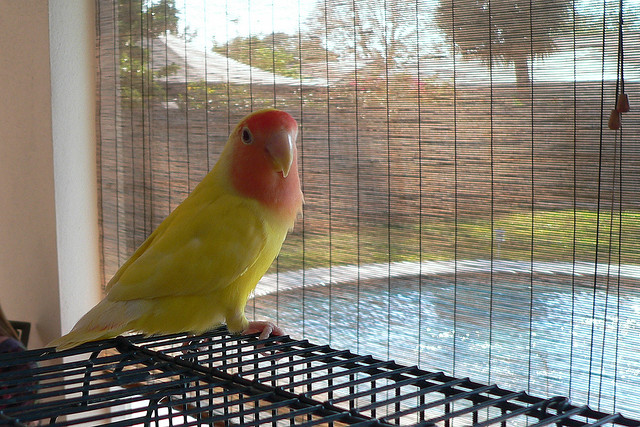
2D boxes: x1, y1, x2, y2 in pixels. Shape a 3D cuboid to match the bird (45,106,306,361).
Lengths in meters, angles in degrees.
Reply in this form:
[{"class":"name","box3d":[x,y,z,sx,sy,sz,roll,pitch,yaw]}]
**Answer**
[{"class":"bird","box3d":[-0.356,0.024,1.535,0.628,0.661,0.264,6,8,-17]}]
